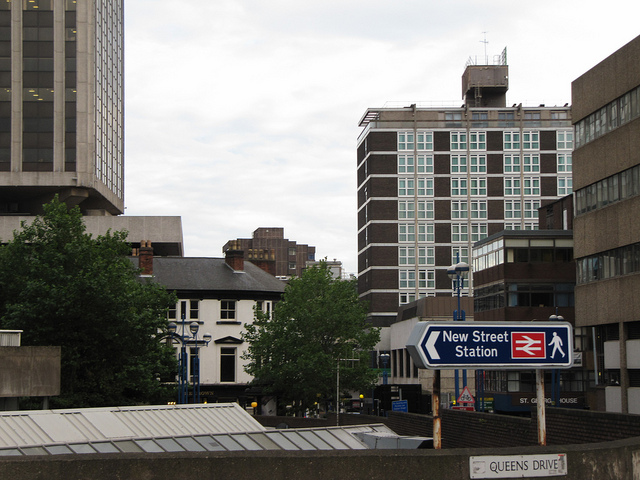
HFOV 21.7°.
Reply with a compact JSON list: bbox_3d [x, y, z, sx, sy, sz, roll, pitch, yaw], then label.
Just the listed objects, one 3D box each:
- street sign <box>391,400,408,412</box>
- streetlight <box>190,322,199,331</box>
[{"bbox_3d":[6.287,12.909,129.622,1.268,1.125,0.160,2,-5,-33],"label":"street sign"},{"bbox_3d":[-8.987,6.247,120.323,0.730,0.713,0.792,2,-2,-5],"label":"streetlight"}]
